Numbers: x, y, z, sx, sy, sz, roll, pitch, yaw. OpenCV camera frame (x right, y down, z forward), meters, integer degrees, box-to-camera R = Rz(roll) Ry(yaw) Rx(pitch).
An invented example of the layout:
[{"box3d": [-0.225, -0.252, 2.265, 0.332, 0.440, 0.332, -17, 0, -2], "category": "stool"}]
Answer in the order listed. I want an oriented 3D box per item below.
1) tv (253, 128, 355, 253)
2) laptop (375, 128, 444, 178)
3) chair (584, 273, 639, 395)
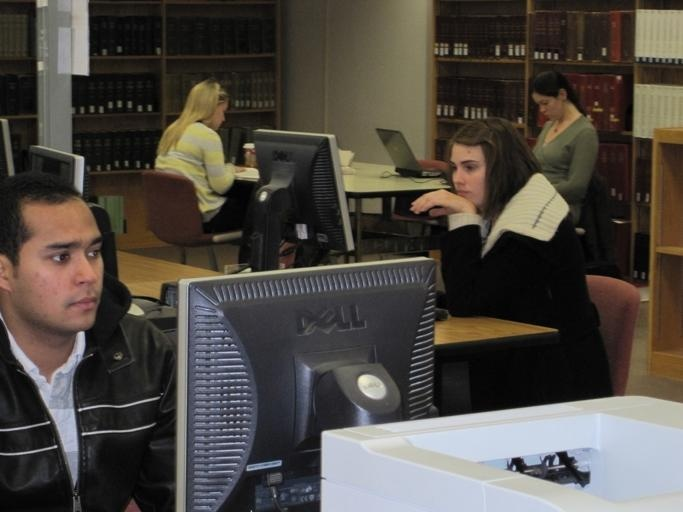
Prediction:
[{"box3d": [-0.199, -0.276, 2.766, 0.187, 0.457, 0.540, -14, 17, -34], "category": "tv"}, {"box3d": [0.544, -0.664, 4.957, 0.481, 0.286, 0.419, 21, -22, 2], "category": "laptop"}, {"box3d": [0.929, 0.267, 2.275, 0.160, 0.411, 0.178, -2, 5, 21], "category": "chair"}]
